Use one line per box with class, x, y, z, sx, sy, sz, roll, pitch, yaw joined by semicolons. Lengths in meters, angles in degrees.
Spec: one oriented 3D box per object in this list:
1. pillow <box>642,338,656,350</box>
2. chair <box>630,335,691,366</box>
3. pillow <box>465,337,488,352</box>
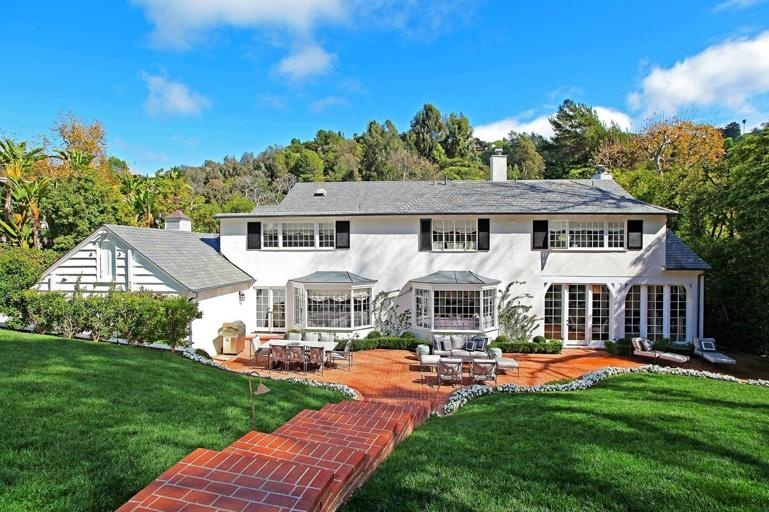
pillow;18.793;6.448;43.317;0.725;0.298;0.976;-1;12;21
chair;19.098;6.703;42.406;1.809;1.558;2.585;2;-5;-31
pillow;6.474;6.416;43.055;1.079;1.056;0.335;2;-15;17
